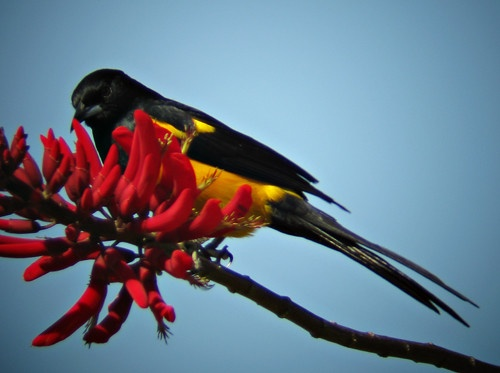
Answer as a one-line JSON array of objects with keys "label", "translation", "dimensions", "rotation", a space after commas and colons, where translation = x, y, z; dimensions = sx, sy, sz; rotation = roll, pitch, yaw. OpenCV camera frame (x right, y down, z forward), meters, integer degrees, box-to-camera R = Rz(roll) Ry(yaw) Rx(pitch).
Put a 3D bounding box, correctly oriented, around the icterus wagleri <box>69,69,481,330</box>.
[{"label": "icterus wagleri", "translation": [0.387, 0.020, 2.154], "dimensions": [1.773, 0.709, 0.426], "rotation": [4, -2, -18]}]
